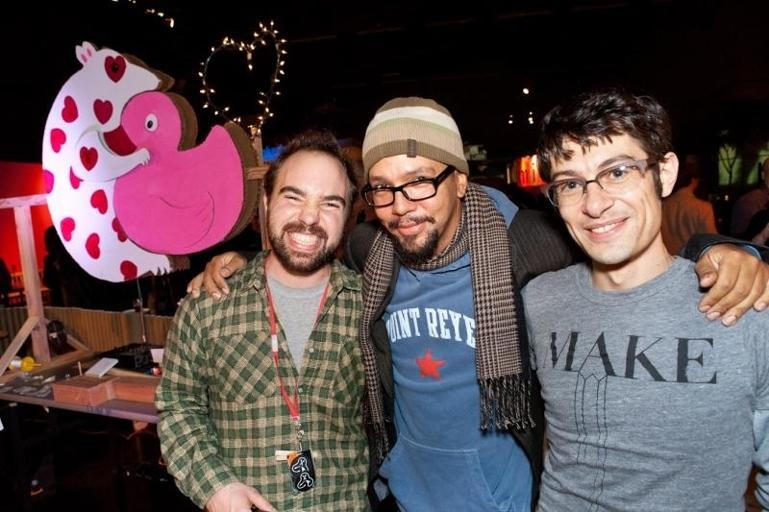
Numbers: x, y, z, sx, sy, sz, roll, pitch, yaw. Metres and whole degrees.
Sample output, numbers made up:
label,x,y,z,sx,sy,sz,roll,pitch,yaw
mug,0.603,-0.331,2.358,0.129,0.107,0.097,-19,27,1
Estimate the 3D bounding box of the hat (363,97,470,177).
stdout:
label,x,y,z,sx,sy,sz,roll,pitch,yaw
hat,0.221,-0.745,3.448,0.518,0.396,0.542,-2,-8,42
